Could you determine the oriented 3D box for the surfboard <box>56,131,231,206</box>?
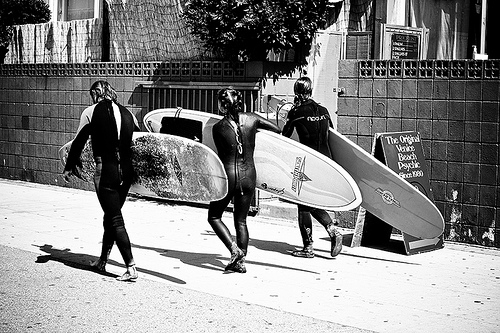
[{"bbox_3d":[-1.683,0.026,9.681,3.032,1.133,0.474,13,20,18],"label":"surfboard"}]

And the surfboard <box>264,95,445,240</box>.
[{"bbox_3d":[1.797,0.012,10.396,3.014,0.656,0.622,38,15,-4],"label":"surfboard"}]

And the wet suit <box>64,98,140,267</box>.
[{"bbox_3d":[-1.951,0.243,9.227,1.033,2.384,0.540,9,14,38],"label":"wet suit"}]

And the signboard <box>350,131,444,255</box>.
[{"bbox_3d":[2.489,0.484,10.684,1.239,2.044,1.123,-2,0,-31],"label":"signboard"}]

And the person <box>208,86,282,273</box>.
[{"bbox_3d":[-0.212,0.209,9.479,0.632,2.615,0.717,4,11,19],"label":"person"}]

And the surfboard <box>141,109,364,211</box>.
[{"bbox_3d":[0.676,-0.149,9.624,0.730,0.355,3.226,-34,-47,24],"label":"surfboard"}]
